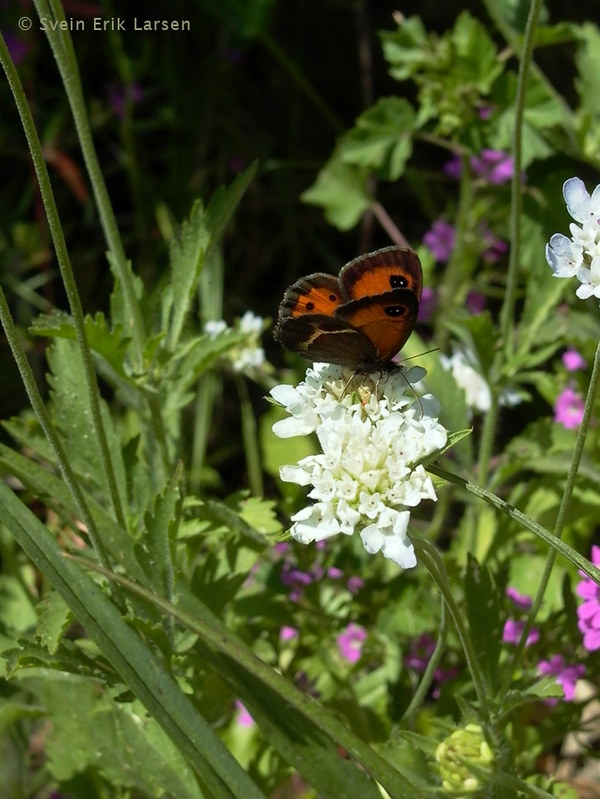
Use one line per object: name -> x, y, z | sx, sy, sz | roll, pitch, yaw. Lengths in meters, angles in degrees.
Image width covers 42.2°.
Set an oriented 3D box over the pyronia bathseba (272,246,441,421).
pyronia bathseba -> 0.082, -0.099, 1.164 | 0.247, 0.249, 0.186 | 10, 81, 11
